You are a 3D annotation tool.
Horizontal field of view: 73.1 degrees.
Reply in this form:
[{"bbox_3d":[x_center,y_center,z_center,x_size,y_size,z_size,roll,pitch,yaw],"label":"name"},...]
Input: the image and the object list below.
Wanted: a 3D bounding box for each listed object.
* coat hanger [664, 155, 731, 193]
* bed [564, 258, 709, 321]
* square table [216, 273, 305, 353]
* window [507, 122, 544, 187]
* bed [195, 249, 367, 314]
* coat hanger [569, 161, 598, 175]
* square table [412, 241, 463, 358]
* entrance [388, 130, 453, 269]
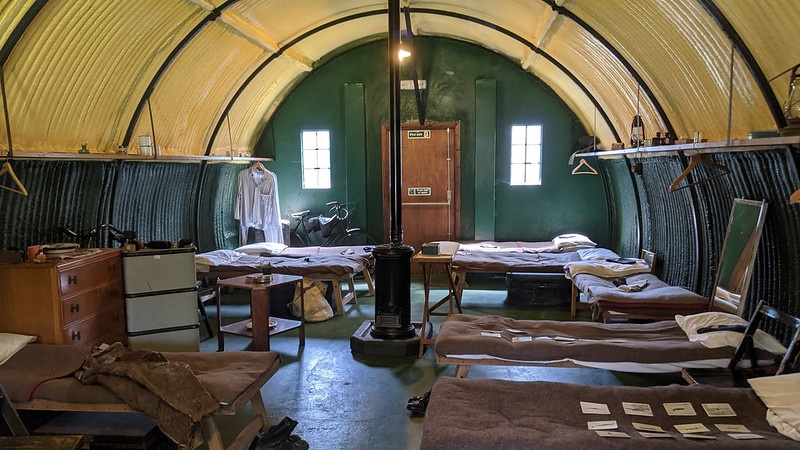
[{"bbox_3d":[4.069,-0.769,7.262,1.185,0.426,0.040,-16,15,-22],"label":"coat hanger"},{"bbox_3d":[3.763,1.145,8.235,1.318,0.537,1.984,-6,0,20],"label":"bed"},{"bbox_3d":[-2.131,1.410,8.236,1.141,0.851,1.070,-4,-2,26],"label":"square table"},{"bbox_3d":[2.650,-1.444,11.252,0.050,1.327,0.844,-10,13,-40],"label":"window"},{"bbox_3d":[-2.283,1.082,9.594,2.946,0.687,1.613,1,-9,-4],"label":"bed"},{"bbox_3d":[3.674,-1.133,10.731,0.459,0.253,0.033,1,13,24],"label":"coat hanger"},{"bbox_3d":[0.583,1.161,8.277,0.622,1.224,1.675,-1,4,8],"label":"square table"},{"bbox_3d":[0.393,-0.610,11.471,1.824,2.941,0.321,-7,9,-30],"label":"entrance"}]
